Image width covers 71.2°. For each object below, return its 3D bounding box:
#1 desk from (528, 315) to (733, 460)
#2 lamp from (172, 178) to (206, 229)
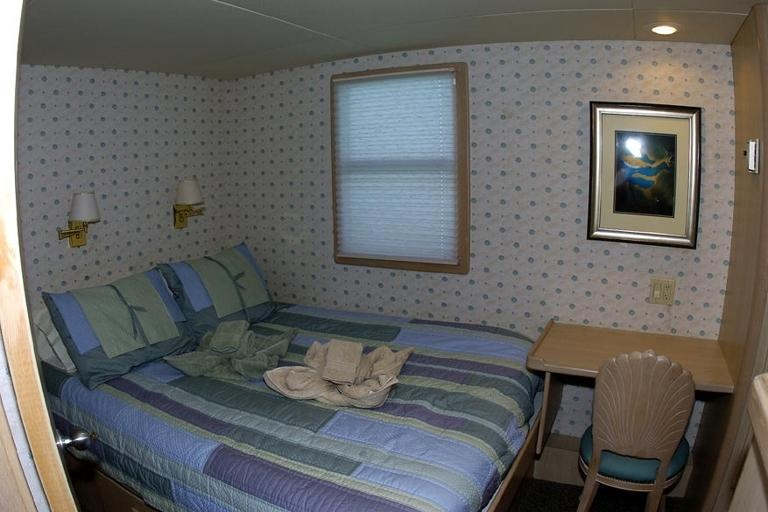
[{"bbox_3d":[1.469,0.834,3.259,1.160,0.621,0.842,4,13,25],"label":"desk"},{"bbox_3d":[-1.468,-0.408,4.140,0.205,0.399,0.353,4,10,17],"label":"lamp"}]
